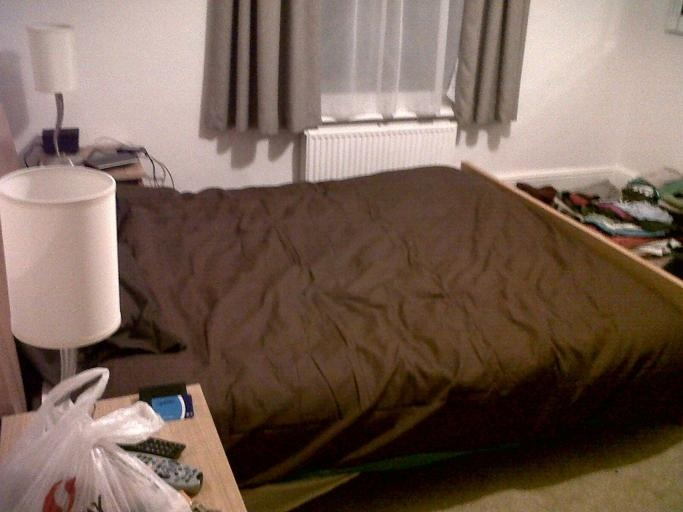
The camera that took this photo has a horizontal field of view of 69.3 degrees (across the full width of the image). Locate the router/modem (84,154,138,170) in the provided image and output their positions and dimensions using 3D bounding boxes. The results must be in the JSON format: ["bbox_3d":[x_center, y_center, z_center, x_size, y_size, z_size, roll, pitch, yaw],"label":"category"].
[{"bbox_3d":[-1.168,-0.483,2.508,0.182,0.050,0.194,-12,26,-24],"label":"router/modem"}]

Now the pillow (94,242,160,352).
[{"bbox_3d":[-0.699,0.174,1.666,0.083,0.403,0.214,-35,-30,29],"label":"pillow"}]

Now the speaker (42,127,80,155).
[{"bbox_3d":[-1.408,-0.573,2.477,0.199,0.126,0.147,-4,12,-25],"label":"speaker"}]

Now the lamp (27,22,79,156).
[{"bbox_3d":[-1.292,-0.731,2.244,0.173,0.590,0.378,-8,17,-30],"label":"lamp"}]

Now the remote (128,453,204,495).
[{"bbox_3d":[-0.374,0.450,1.041,0.139,0.029,0.076,28,13,3],"label":"remote"}]
